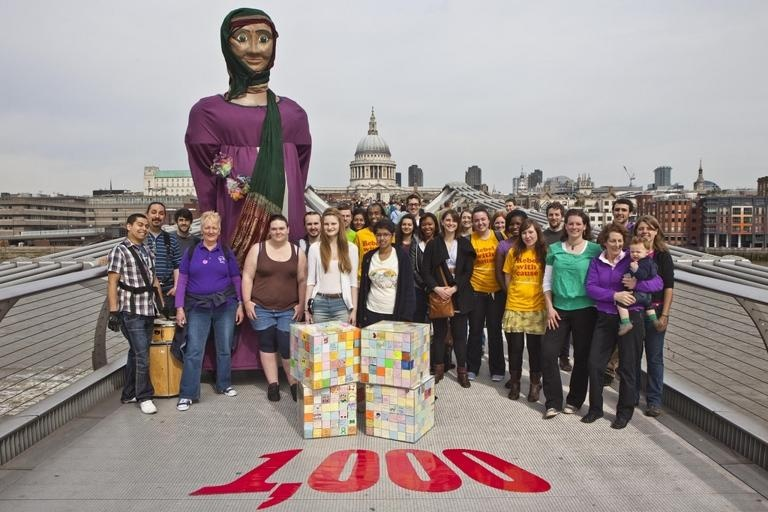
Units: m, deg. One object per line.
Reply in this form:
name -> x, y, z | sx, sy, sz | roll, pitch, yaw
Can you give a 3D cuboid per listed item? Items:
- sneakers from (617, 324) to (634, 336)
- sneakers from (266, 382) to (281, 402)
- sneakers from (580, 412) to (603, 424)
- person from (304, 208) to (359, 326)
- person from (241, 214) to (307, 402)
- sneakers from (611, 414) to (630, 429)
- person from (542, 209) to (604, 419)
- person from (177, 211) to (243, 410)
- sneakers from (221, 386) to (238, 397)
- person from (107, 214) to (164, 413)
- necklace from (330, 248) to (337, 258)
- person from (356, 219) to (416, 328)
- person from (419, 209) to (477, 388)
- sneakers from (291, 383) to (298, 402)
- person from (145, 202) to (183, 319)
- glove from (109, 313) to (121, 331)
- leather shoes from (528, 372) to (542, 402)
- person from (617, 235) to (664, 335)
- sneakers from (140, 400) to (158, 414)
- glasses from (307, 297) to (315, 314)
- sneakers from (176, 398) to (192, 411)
sneakers -> 2.571, 0.790, 6.023 | 0.084, 0.072, 0.200 | 44, -8, 12
sneakers -> -1.288, 1.608, 6.573 | 0.120, 0.215, 0.204 | 2, 5, -8
sneakers -> 2.258, 1.768, 6.175 | 0.255, 0.103, 0.101 | -20, -18, -24
person -> -0.623, 0.123, 6.575 | 0.625, 1.303, 0.386 | -1, 11, -6
person -> -1.271, 0.601, 6.609 | 0.762, 2.121, 0.530 | -2, 11, -11
sneakers -> 2.523, 1.765, 6.010 | 0.268, 0.109, 0.120 | -9, 15, -36
person -> 2.154, 0.663, 6.380 | 0.716, 2.365, 0.633 | 1, 4, 10
person -> -2.059, 0.599, 6.551 | 0.852, 2.178, 0.574 | -6, 13, -28
sneakers -> -1.851, 1.641, 6.786 | 0.215, 0.108, 0.089 | -3, 1, 28
person -> -2.795, 0.633, 6.409 | 0.582, 2.169, 0.608 | 4, 12, 19
necklace -> -0.589, -0.038, 6.583 | 0.076, 0.083, 0.025 | -9, -4, 44
person -> 0.020, 0.196, 6.525 | 0.643, 1.241, 0.352 | 0, 11, -2
person -> 0.790, 0.532, 7.084 | 0.652, 2.197, 0.554 | 2, 11, 10
sneakers -> -1.055, 1.591, 6.561 | 0.040, 0.192, 0.117 | -10, 15, -42
person -> -2.820, 0.288, 7.128 | 0.516, 1.841, 0.500 | -2, 12, -25
glove -> -2.970, 0.741, 6.267 | 0.162, 0.186, 0.066 | 2, 0, 39
leather shoes -> 1.786, 1.578, 6.690 | 0.121, 0.279, 0.377 | 0, 7, 18
person -> 2.762, 0.313, 6.104 | 0.597, 1.059, 0.246 | -8, 14, -34
sneakers -> -2.611, 1.694, 6.283 | 0.093, 0.098, 0.216 | -4, 7, -44
glasses -> -0.862, 0.589, 6.620 | 0.081, 0.171, 0.113 | 6, 4, 3
sneakers -> -2.261, 1.680, 6.394 | 0.182, 0.111, 0.177 | -5, 13, -23
